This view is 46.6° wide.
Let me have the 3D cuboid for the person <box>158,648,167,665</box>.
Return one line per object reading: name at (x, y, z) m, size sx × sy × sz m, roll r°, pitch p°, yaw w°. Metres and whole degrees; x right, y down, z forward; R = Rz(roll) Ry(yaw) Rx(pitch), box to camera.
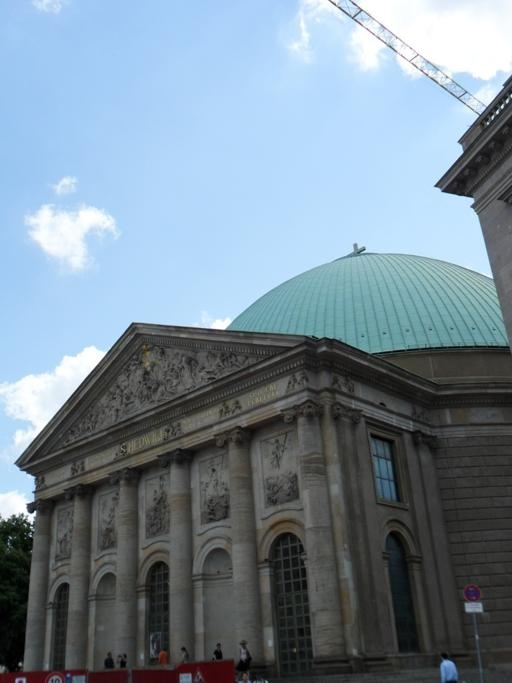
person at (-3.818, 12.959, 24.337) m, size 0.269 × 0.521 × 0.713 m, roll 4°, pitch -29°, yaw -15°
